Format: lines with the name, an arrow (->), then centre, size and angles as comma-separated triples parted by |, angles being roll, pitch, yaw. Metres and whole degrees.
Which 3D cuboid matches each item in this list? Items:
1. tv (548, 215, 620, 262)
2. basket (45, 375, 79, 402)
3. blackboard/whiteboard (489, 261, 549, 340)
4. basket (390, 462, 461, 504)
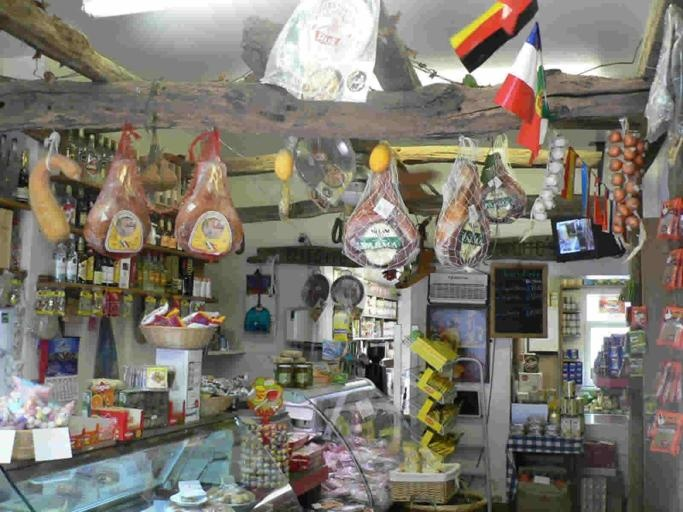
tv -> 2.179, -0.180, 5.934 | 0.297, 0.406, 0.550 | -8, -1, -28
basket -> -2.365, 1.134, 5.739 | 0.162, 0.225, 0.503 | -2, -7, 7
blackboard/whiteboard -> 2.028, 0.510, 7.649 | 0.781, 1.127, 0.119 | 1, -14, 3
basket -> 0.708, 1.950, 5.725 | 0.459, 0.186, 0.349 | -2, -5, 6
